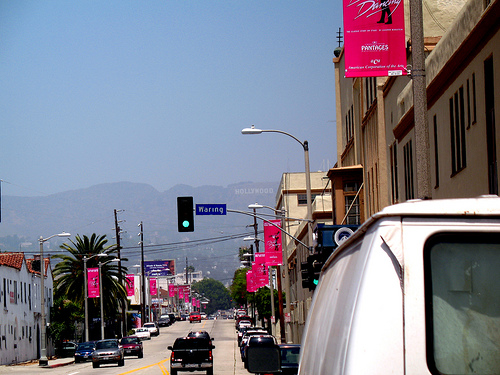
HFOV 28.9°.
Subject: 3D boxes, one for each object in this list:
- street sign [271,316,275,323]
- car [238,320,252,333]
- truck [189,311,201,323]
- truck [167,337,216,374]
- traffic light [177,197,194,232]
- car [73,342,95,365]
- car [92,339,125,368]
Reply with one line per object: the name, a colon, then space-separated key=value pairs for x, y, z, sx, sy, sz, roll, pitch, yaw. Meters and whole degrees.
street sign: x=1.567 y=8.874 z=64.695 sx=0.260 sy=0.639 sz=0.294 roll=0 pitch=-4 yaw=-14
car: x=-0.403 y=10.993 z=77.970 sx=1.023 sy=0.944 sz=1.909 roll=2 pitch=7 yaw=1
truck: x=-8.104 y=19.106 z=143.667 sx=1.263 sy=1.556 sz=2.701 roll=-1 pitch=-17 yaw=-4
truck: x=-2.355 y=6.910 z=39.407 sx=1.690 sy=1.516 sz=1.162 roll=-3 pitch=-10 yaw=-7
traffic light: x=-2.443 y=1.077 z=37.201 sx=0.629 sy=1.644 sz=0.232 roll=1 pitch=-35 yaw=-7
car: x=-10.437 y=10.435 z=60.890 sx=1.164 sy=1.443 sz=4.244 roll=-2 pitch=-12 yaw=-11
car: x=-7.374 y=8.677 z=50.715 sx=0.819 sy=1.057 sz=1.984 roll=-2 pitch=-17 yaw=-3
